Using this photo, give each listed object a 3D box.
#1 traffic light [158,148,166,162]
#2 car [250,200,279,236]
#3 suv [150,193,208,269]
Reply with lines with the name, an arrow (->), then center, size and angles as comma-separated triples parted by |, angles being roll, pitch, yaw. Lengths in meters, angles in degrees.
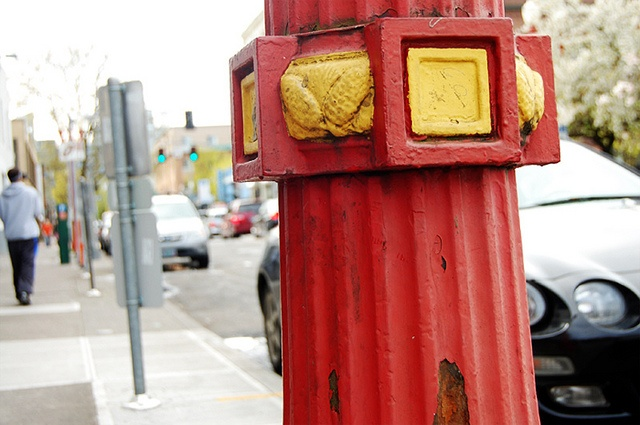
traffic light -> -5.815, -2.067, 22.423 | 0.274, 0.560, 0.215 | 5, -31, -29
car -> -2.747, 0.323, 29.676 | 1.029, 0.844, 1.761 | 3, 13, 34
suv -> -3.573, 0.526, 15.713 | 1.283, 1.802, 1.845 | 0, 0, -18
